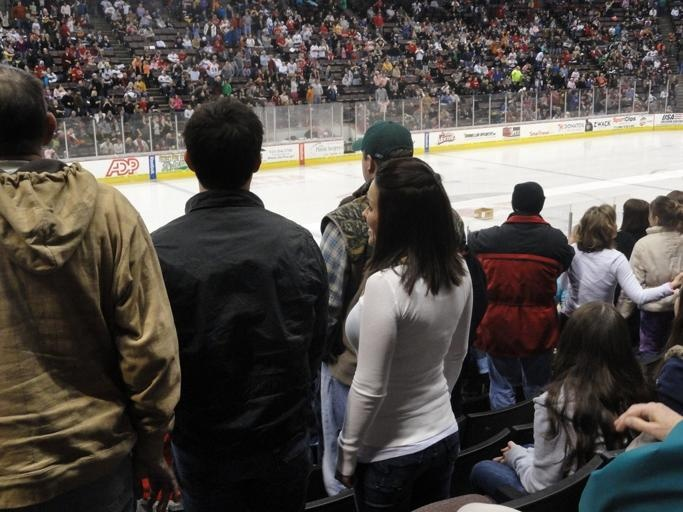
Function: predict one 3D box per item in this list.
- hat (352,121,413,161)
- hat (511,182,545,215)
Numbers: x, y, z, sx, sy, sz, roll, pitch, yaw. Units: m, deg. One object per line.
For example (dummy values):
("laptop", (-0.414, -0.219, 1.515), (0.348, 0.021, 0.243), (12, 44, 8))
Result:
("hat", (0.210, -0.587, 3.428), (0.215, 0.170, 0.295), (-9, 29, -20))
("hat", (1.160, -0.367, 4.480), (0.172, 0.217, 0.228), (8, 20, 3))
